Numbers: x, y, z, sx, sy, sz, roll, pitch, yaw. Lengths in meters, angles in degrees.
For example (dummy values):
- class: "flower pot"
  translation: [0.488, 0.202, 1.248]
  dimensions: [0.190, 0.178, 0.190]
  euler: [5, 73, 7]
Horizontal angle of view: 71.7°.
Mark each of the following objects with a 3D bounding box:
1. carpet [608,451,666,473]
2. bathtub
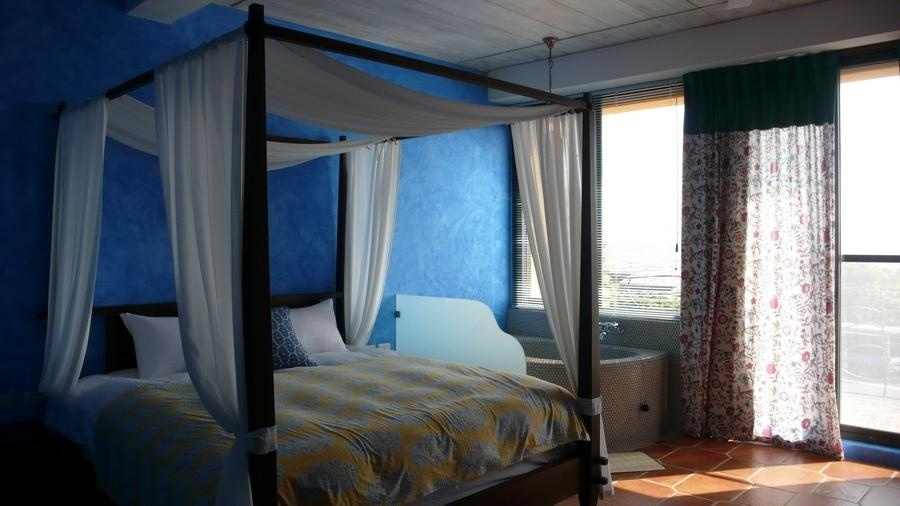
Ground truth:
- class: "carpet"
  translation: [1.793, 2.071, 6.143]
  dimensions: [0.532, 0.040, 0.456]
  euler: [-2, 10, -4]
- class: "bathtub"
  translation: [1.707, 1.513, 6.672]
  dimensions: [1.999, 0.645, 1.047]
  euler: [2, 0, 41]
